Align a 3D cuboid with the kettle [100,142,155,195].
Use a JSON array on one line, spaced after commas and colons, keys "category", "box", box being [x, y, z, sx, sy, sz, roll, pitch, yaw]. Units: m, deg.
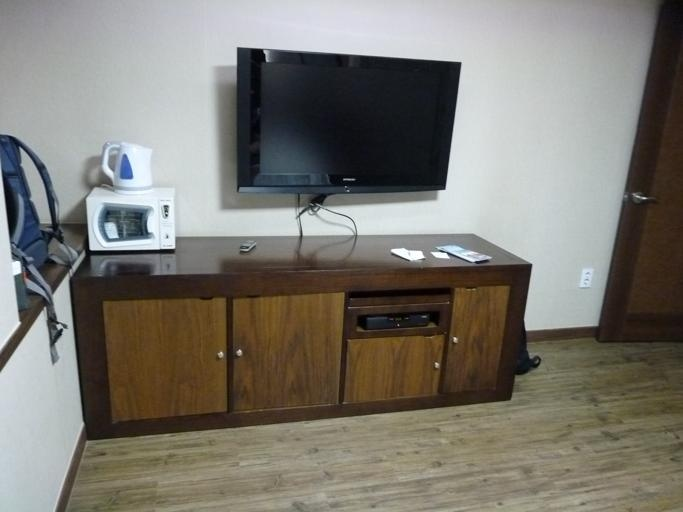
[{"category": "kettle", "box": [-1.075, -0.456, 2.632, 0.295, 0.294, 0.222, -3, 19, -21]}]
